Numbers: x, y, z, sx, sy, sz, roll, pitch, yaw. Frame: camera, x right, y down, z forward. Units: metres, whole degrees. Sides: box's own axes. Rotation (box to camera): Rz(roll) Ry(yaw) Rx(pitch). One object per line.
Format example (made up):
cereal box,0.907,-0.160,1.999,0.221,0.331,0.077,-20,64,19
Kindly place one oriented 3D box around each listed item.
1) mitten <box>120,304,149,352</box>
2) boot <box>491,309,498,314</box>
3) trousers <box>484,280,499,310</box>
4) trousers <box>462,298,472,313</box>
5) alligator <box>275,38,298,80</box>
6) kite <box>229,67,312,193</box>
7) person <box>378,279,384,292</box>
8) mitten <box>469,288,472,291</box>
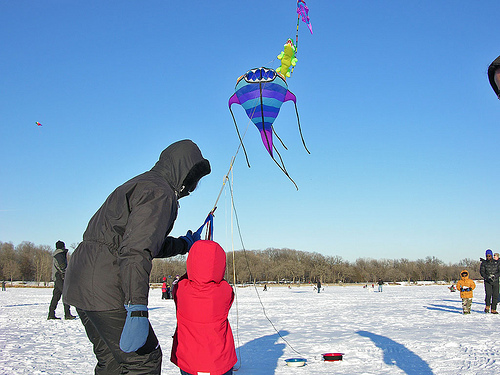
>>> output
mitten,-0.879,1.098,3.130,0.155,0.333,0.212,5,-5,27
boot,8.549,4.292,13.997,0.186,0.161,0.289,-7,-16,28
trousers,8.503,3.733,14.033,0.453,0.973,0.723,-7,-15,30
trousers,7.496,4.042,13.837,0.264,0.487,0.440,-6,-15,27
alligator,1.079,-3.850,11.975,0.534,1.140,0.367,19,17,17
kite,0.384,-1.542,11.193,1.756,3.734,1.147,-19,39,-16
person,14.637,10.873,45.031,0.333,1.367,1.970,-3,-14,15
mitten,7.435,3.386,13.485,0.078,0.024,0.090,10,0,22
